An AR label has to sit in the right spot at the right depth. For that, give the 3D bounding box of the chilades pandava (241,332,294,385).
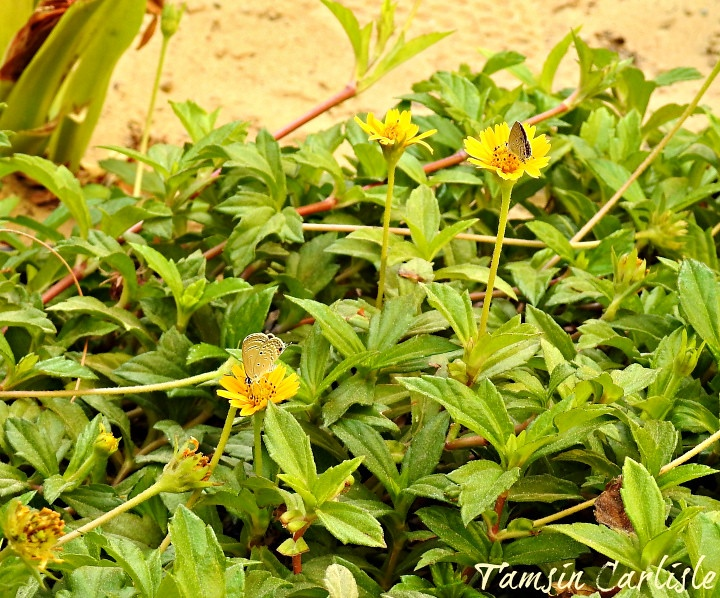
[{"bbox_3d":[-0.122,0.071,0.899,0.049,0.066,0.031,-40,61,-18],"label":"chilades pandava"}]

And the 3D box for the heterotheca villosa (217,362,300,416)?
[{"bbox_3d":[-0.129,0.113,0.930,0.066,0.085,0.070,24,33,37],"label":"heterotheca villosa"}]
